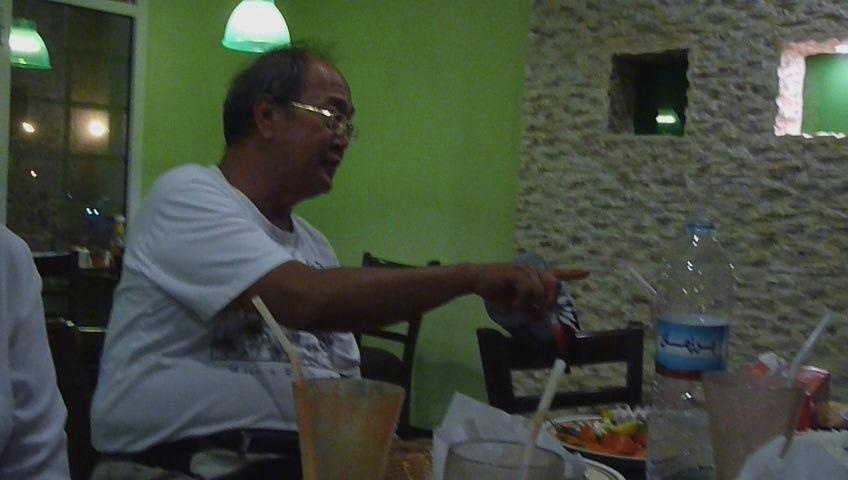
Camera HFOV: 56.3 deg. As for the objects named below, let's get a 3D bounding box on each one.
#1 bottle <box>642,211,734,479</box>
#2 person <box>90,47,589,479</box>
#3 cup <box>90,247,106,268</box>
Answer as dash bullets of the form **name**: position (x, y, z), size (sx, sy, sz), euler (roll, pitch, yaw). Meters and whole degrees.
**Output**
- **bottle**: position (0.740, 0.307, 2.255), size (0.235, 0.688, 0.361), euler (4, 6, 20)
- **person**: position (-0.420, 0.024, 2.605), size (1.235, 1.332, 0.402), euler (2, 6, 2)
- **cup**: position (-1.617, 0.095, 4.001), size (0.086, 0.088, 0.092), euler (4, -7, 1)
